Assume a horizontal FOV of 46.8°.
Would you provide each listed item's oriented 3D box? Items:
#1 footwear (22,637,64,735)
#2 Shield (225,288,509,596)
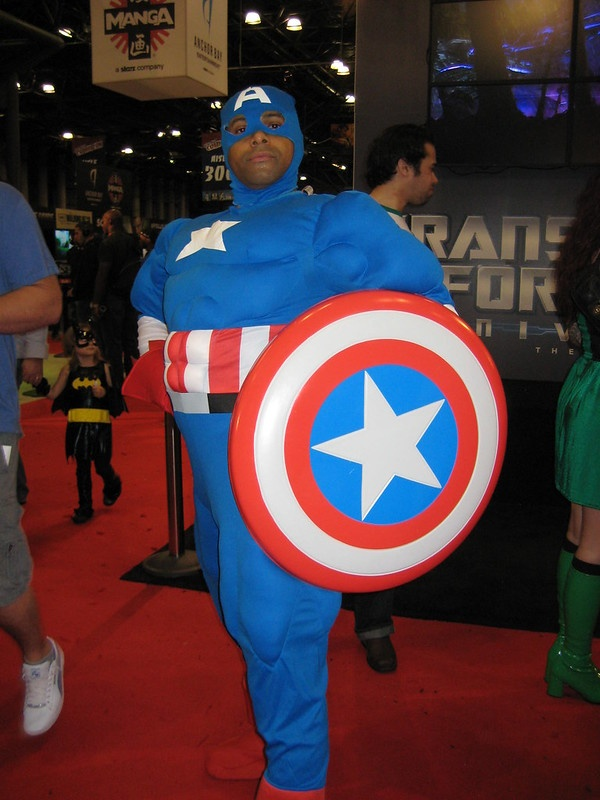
[{"bbox_3d":[-0.666,0.746,1.858,0.100,0.244,0.107,-5,-22,-12],"label":"footwear"},{"bbox_3d":[0.132,0.068,1.200,0.493,0.505,0.121,-7,13,-25],"label":"Shield"}]
